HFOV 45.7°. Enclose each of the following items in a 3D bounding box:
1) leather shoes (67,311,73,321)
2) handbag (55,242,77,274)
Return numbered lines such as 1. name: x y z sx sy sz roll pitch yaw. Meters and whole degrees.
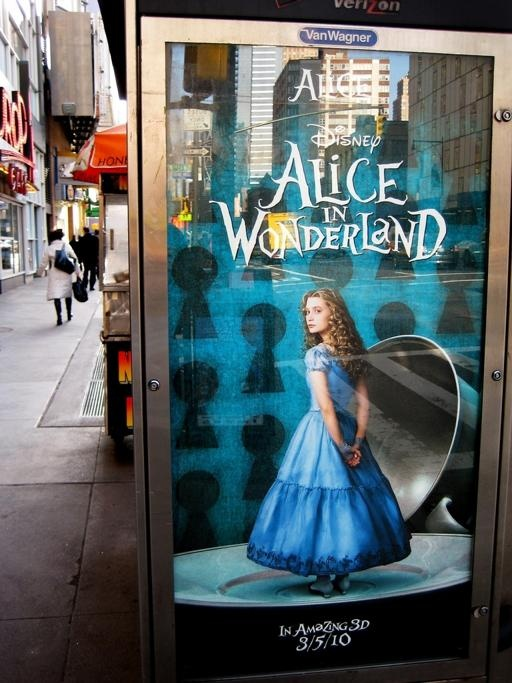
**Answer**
1. leather shoes: -3.939 -0.520 12.846 0.130 0.135 0.241 -3 10 -10
2. handbag: -3.677 -1.573 11.739 0.418 0.565 0.381 -1 8 -29
